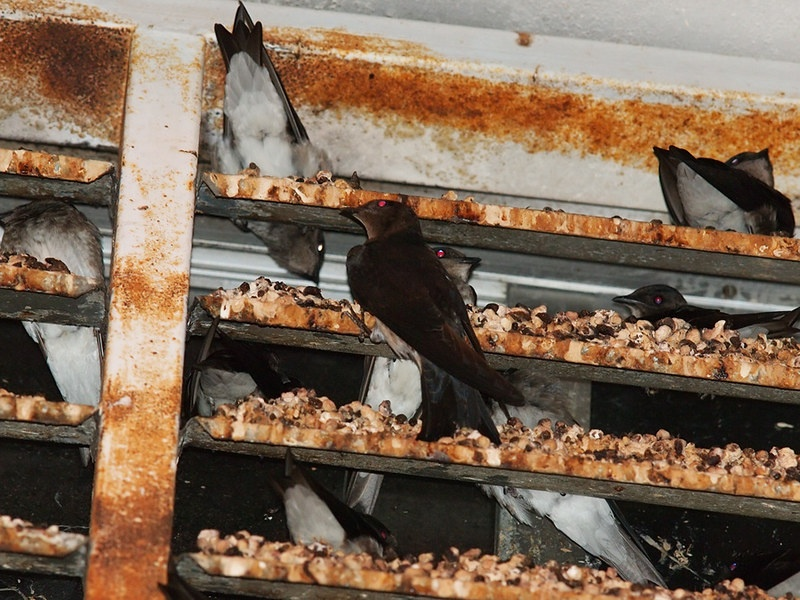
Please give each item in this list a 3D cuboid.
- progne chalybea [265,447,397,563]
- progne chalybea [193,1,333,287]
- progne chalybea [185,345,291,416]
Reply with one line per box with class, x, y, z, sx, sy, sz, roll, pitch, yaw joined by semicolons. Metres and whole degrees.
progne chalybea;-0.267;0.784;5.864;0.552;0.215;0.162;43;-17;-15
progne chalybea;-0.547;-0.638;6.471;0.426;1.098;0.455;-18;5;6
progne chalybea;-0.662;0.311;6.187;0.314;0.150;0.343;-4;-13;10
